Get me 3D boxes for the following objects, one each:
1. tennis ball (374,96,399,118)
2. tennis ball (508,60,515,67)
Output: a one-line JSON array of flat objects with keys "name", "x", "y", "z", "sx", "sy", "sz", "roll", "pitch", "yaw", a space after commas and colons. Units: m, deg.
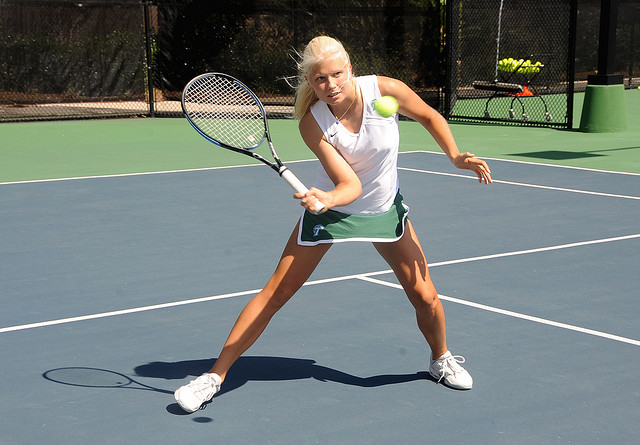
[{"name": "tennis ball", "x": 0.344, "y": -0.572, "z": 2.959, "sx": 0.135, "sy": 0.109, "sz": 0.111, "roll": -6, "pitch": 5, "yaw": -43}, {"name": "tennis ball", "x": 5.548, "y": -4.612, "z": 16.755, "sx": 0.161, "sy": 0.193, "sz": 0.276, "roll": 5, "pitch": 16, "yaw": 18}]
